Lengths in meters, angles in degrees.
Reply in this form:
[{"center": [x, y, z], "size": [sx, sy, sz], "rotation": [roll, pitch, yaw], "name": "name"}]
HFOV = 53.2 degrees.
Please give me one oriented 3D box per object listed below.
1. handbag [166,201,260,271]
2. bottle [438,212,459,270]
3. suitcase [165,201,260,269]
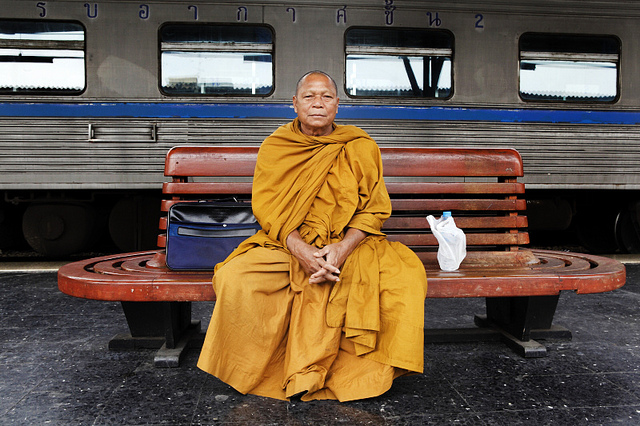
[{"center": [-0.896, 0.298, 5.232], "size": [0.871, 0.504, 0.538], "rotation": [2, -4, -7], "name": "handbag"}, {"center": [1.031, 0.220, 5.115], "size": [0.161, 0.431, 0.178], "rotation": [-1, 13, -4], "name": "bottle"}, {"center": [-0.896, 0.068, 5.234], "size": [0.882, 0.534, 0.542], "rotation": [-1, -5, -6], "name": "suitcase"}]
